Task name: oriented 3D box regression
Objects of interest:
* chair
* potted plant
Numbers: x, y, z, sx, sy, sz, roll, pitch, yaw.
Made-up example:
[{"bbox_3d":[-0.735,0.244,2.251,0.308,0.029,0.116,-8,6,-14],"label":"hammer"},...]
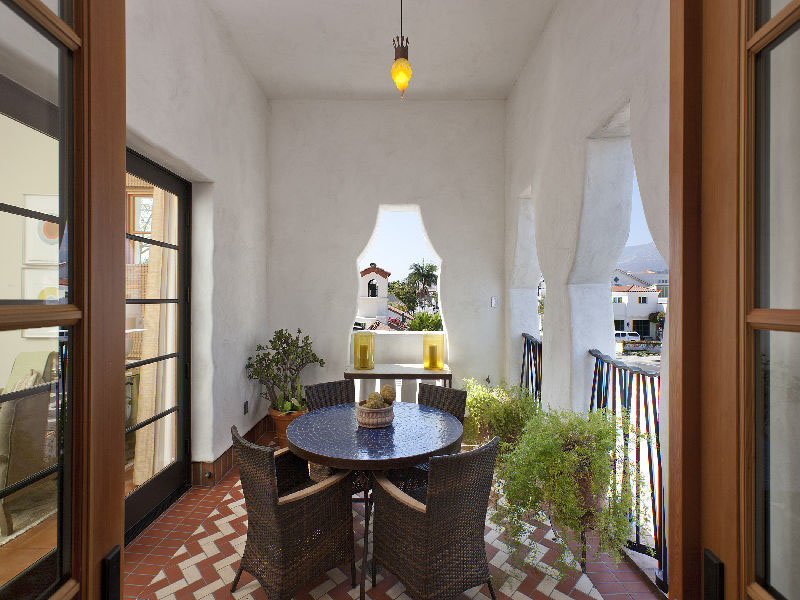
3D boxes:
[{"bbox_3d":[-0.292,0.907,3.075,1.029,0.939,0.861,-2,1,-21],"label":"chair"},{"bbox_3d":[-0.954,0.755,4.931,0.611,0.987,0.662,2,1,19],"label":"potted plant"}]
